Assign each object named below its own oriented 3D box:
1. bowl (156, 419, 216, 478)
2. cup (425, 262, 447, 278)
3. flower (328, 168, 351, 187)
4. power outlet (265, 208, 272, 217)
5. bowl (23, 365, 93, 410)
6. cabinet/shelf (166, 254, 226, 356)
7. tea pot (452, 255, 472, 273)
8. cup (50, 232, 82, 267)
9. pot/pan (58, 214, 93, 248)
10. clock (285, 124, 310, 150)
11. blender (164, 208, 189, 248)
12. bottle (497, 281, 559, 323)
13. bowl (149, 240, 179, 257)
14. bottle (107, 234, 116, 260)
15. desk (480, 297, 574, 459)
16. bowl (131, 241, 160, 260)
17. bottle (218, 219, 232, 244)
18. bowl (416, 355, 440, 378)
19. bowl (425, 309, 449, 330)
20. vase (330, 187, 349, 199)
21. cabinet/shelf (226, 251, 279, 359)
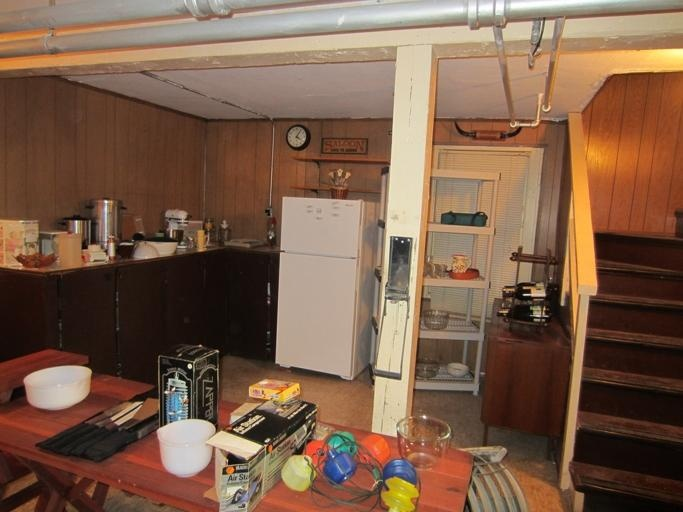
[{"bbox_3d":[-0.661,0.809,2.232,0.243,0.153,0.240,1,2,0],"label":"bowl"},{"bbox_3d":[0.927,0.139,5.080,0.185,0.123,0.324,7,7,42],"label":"cup"},{"bbox_3d":[-0.015,-0.831,5.633,0.276,0.261,0.113,5,17,14],"label":"flower"},{"bbox_3d":[-0.833,-0.485,6.071,0.091,0.118,0.099,2,6,-3],"label":"power outlet"},{"bbox_3d":[-1.376,0.628,2.543,0.251,0.119,0.238,4,2,0],"label":"bowl"},{"bbox_3d":[-1.366,0.422,4.847,0.350,0.835,0.961,4,9,13],"label":"cabinet/shelf"},{"bbox_3d":[1.158,0.076,5.017,0.262,0.159,0.123,-2,7,-42],"label":"tea pot"},{"bbox_3d":[-2.106,-0.037,4.030,0.265,0.321,0.118,-3,10,-45],"label":"cup"},{"bbox_3d":[-2.315,-0.213,4.625,0.225,0.228,0.216,-1,-13,-33],"label":"pot/pan"},{"bbox_3d":[-0.479,-1.316,5.867,0.332,0.307,0.105,-2,0,30],"label":"clock"},{"bbox_3d":[-1.615,-0.269,5.154,0.235,0.337,0.260,1,6,-18],"label":"blender"},{"bbox_3d":[1.509,0.352,4.278,0.414,0.279,0.328,2,5,23],"label":"bottle"},{"bbox_3d":[-1.621,-0.068,4.804,0.168,0.075,0.164,1,3,0],"label":"bowl"},{"bbox_3d":[-1.899,-0.066,4.348,0.065,0.196,0.141,0,6,-30],"label":"bottle"},{"bbox_3d":[1.417,1.032,4.090,0.600,0.979,0.565,5,6,20],"label":"desk"},{"bbox_3d":[-1.714,-0.041,4.582,0.199,0.141,0.203,3,5,0],"label":"bowl"},{"bbox_3d":[-1.339,-0.271,6.007,0.137,0.257,0.518,2,5,-13],"label":"bottle"},{"bbox_3d":[0.823,1.093,5.233,0.284,0.110,0.279,0,-2,0],"label":"bowl"},{"bbox_3d":[0.910,0.623,5.126,0.187,0.122,0.198,1,-5,0],"label":"bowl"},{"bbox_3d":[-0.027,-0.623,5.319,0.142,0.097,0.108,5,9,21],"label":"vase"},{"bbox_3d":[-0.809,0.545,5.845,0.673,1.146,0.710,1,1,26],"label":"cabinet/shelf"}]
